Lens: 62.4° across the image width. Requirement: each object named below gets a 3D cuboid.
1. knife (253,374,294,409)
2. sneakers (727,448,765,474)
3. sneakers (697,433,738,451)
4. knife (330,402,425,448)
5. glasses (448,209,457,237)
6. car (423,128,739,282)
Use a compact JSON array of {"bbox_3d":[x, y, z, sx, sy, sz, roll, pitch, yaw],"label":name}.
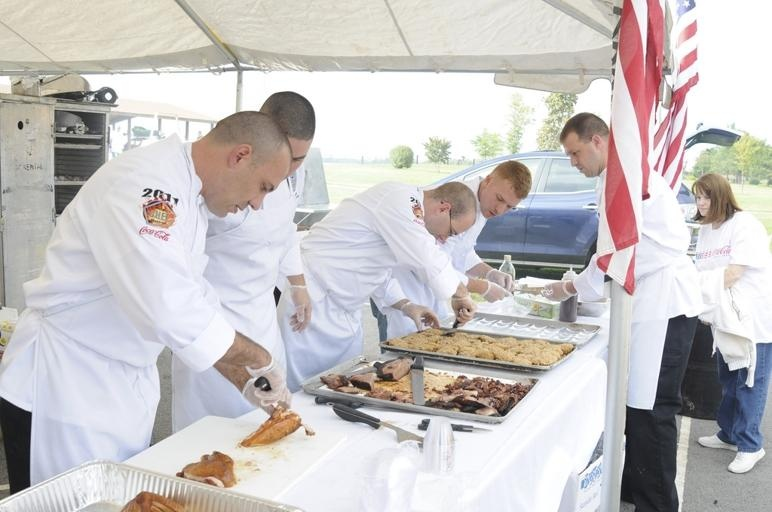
[{"bbox_3d":[-0.529,0.622,2.942,0.129,0.166,0.079,-23,5,-7],"label":"knife"},{"bbox_3d":[2.926,1.639,5.133,0.406,0.151,0.131,-15,-21,-41],"label":"sneakers"},{"bbox_3d":[2.803,1.596,5.418,0.309,0.125,0.111,4,0,14],"label":"sneakers"},{"bbox_3d":[-0.037,0.782,2.922,0.322,0.035,0.053,16,39,21],"label":"knife"},{"bbox_3d":[0.415,-0.212,4.094,0.065,0.126,0.102,5,1,2],"label":"glasses"},{"bbox_3d":[2.653,-0.607,8.835,3.811,1.340,1.741,2,6,24],"label":"car"}]
